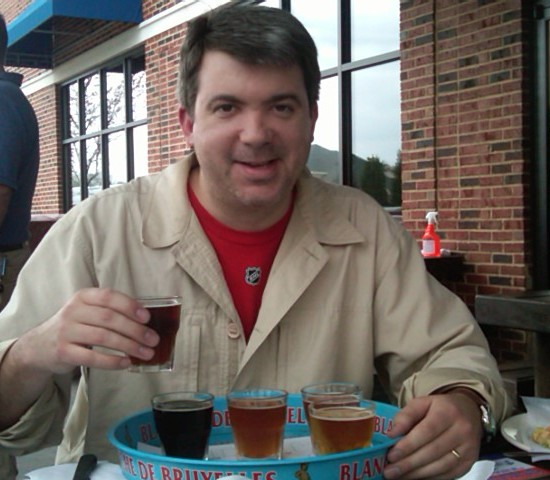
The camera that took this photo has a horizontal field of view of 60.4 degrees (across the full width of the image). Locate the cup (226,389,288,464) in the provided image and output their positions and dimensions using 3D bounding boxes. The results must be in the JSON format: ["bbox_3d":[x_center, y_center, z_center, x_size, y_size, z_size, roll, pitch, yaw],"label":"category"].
[{"bbox_3d":[-0.025,0.319,0.847,0.103,0.118,0.101,-1,-3,0],"label":"cup"}]

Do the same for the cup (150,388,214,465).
[{"bbox_3d":[-0.152,0.314,0.806,0.100,0.125,0.109,-2,-5,0],"label":"cup"}]

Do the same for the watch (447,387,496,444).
[{"bbox_3d":[0.428,0.386,1.025,0.101,0.122,0.096,-1,-1,10],"label":"watch"}]

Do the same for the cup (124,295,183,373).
[{"bbox_3d":[-0.223,0.183,0.952,0.123,0.152,0.131,1,-7,0],"label":"cup"}]

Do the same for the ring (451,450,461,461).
[{"bbox_3d":[0.335,0.399,0.882,0.004,0.015,0.016,-37,-37,3],"label":"ring"}]

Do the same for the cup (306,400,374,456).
[{"bbox_3d":[0.108,0.310,0.785,0.089,0.072,0.079,1,-4,-10],"label":"cup"}]
